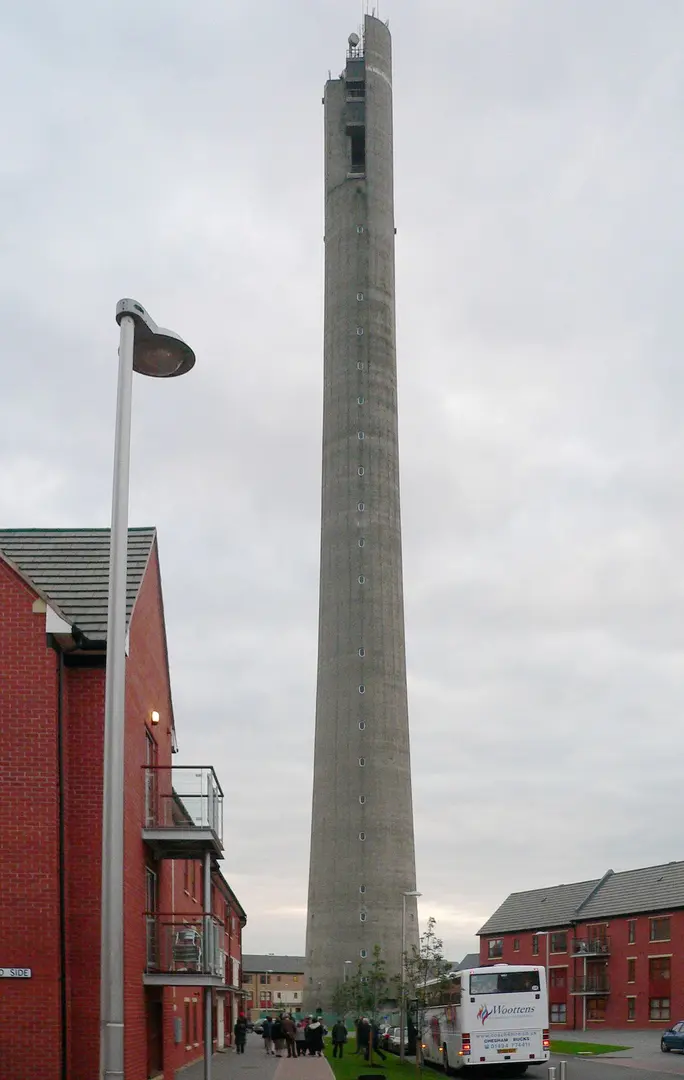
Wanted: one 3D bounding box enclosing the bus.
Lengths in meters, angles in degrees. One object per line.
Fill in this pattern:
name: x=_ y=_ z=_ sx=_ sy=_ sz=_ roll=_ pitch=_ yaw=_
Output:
bus: x=2.974 y=10.534 z=32.750 sx=1.694 sy=2.382 sz=6.050 roll=-1 pitch=-15 yaw=-6
